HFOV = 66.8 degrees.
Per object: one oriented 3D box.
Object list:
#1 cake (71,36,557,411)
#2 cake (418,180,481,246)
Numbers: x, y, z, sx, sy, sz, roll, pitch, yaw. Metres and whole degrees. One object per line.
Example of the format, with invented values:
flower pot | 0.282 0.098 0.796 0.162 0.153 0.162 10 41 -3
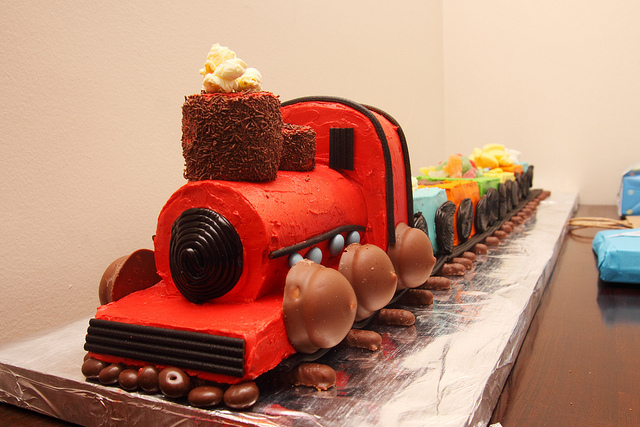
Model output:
cake | -0.166 -0.022 1.717 1.283 1.128 0.667 -12 9 -43
cake | 0.779 -0.008 2.806 0.389 0.359 0.394 -1 0 24
